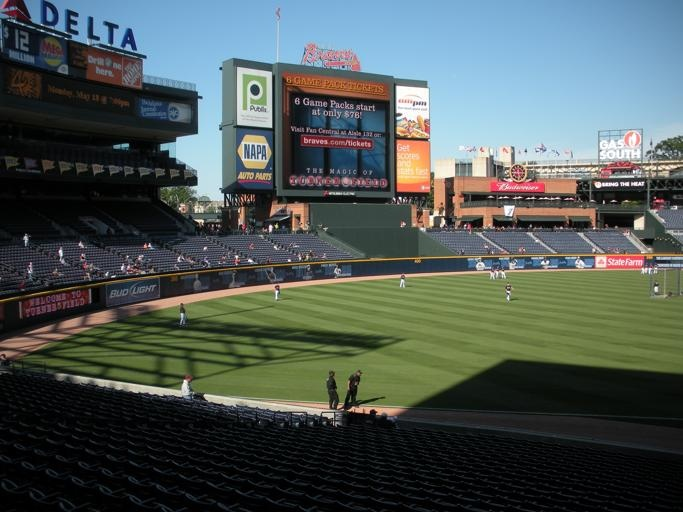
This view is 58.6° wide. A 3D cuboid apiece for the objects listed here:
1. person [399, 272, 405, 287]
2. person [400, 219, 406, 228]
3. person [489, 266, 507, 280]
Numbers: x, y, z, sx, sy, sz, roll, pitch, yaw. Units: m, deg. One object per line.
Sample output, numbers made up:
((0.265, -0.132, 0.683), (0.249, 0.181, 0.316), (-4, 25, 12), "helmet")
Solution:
((5.177, 2.090, 51.675), (0.512, 1.174, 1.261), (0, 6, 4), "person")
((7.083, -3.673, 71.582), (0.723, 0.637, 0.832), (1, -4, 0), "person")
((15.409, 1.761, 60.299), (1.483, 0.951, 0.258), (1, -6, -7), "person")
